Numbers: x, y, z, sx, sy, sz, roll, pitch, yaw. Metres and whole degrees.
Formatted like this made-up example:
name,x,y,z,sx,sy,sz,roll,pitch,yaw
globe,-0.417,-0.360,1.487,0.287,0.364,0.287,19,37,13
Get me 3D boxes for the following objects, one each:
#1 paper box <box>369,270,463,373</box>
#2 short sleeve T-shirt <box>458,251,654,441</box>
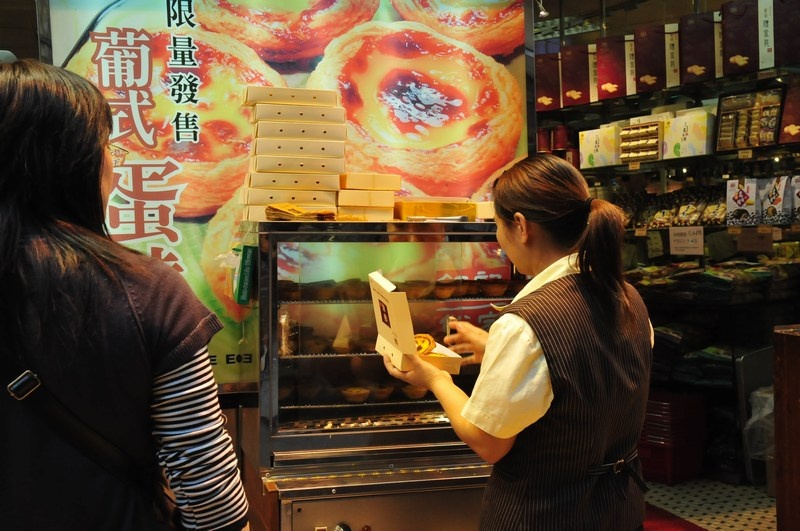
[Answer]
name,x,y,z,sx,sy,sz,roll,pitch,yaw
paper box,0.072,0.274,2.692,0.402,0.375,0.446,4,6,-7
short sleeve T-shirt,0.502,0.283,2.148,0.371,0.520,0.745,3,11,31
